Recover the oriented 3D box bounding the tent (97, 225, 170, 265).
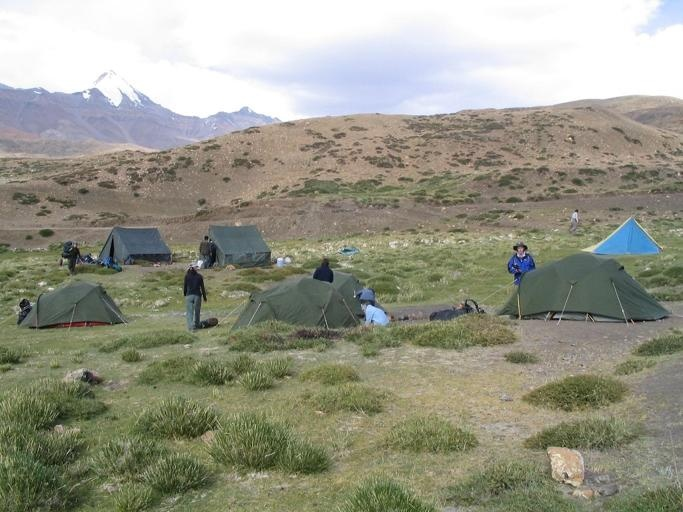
[{"bbox_3d":[-14.328,-0.620,46.504,3.476,2.693,4.862,-6,9,-40],"label":"tent"}]

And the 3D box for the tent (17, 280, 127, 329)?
[{"bbox_3d":[-10.706,1.723,26.834,3.766,1.412,3.222,-4,9,1],"label":"tent"}]

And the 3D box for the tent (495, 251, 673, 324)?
[{"bbox_3d":[8.523,0.988,24.167,5.338,2.006,3.727,4,11,40],"label":"tent"}]

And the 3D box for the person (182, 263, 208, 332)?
[{"bbox_3d":[-5.511,1.556,25.012,0.740,2.396,0.898,-5,5,-14],"label":"person"}]

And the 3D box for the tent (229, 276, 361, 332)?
[{"bbox_3d":[-1.431,1.818,25.302,4.098,1.931,3.509,0,5,4],"label":"tent"}]
